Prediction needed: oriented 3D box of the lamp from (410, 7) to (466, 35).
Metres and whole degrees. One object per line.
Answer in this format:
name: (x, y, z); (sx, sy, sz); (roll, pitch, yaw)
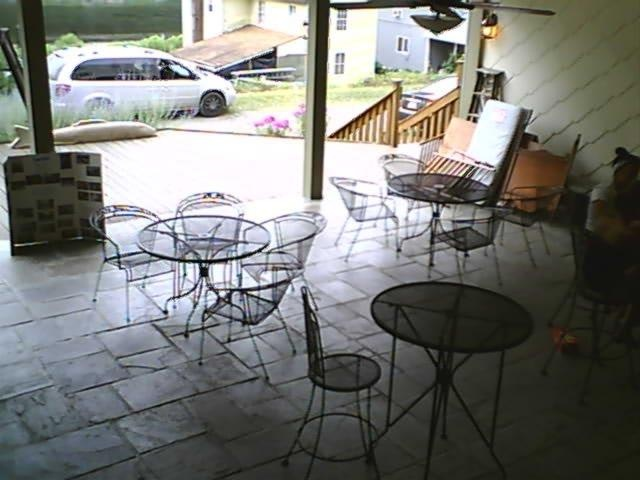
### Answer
lamp: (1.200, -2.234, 5.413); (0.517, 0.273, 0.384); (7, 28, 9)

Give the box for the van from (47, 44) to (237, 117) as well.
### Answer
van: (-4.127, -3.833, 12.594); (4.231, 1.192, 1.659); (-10, 27, -28)
